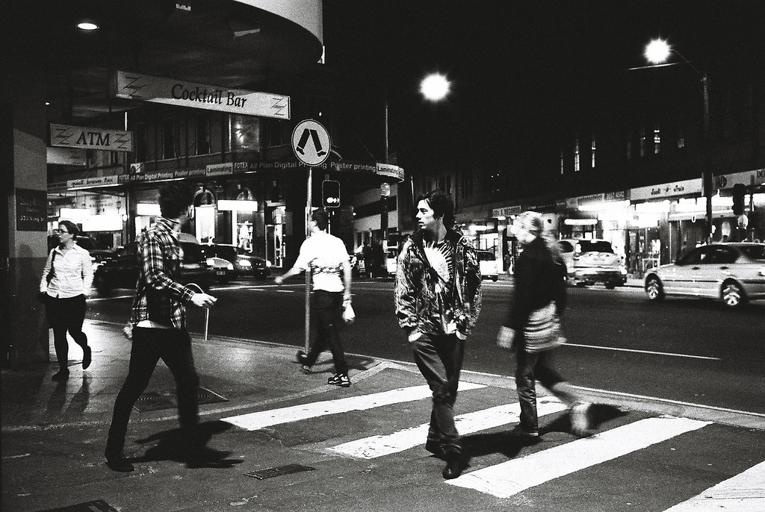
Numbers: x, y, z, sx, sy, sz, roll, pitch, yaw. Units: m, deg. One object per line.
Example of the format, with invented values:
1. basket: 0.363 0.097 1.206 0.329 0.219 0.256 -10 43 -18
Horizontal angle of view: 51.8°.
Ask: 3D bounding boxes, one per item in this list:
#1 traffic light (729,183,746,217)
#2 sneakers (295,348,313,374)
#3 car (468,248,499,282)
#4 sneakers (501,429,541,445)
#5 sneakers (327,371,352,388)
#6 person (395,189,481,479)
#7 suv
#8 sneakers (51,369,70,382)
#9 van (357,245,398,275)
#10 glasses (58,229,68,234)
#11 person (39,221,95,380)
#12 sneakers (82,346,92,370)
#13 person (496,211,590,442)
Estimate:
1. traffic light: 11.791 -1.845 26.034 0.349 1.018 0.886 2 6 21
2. sneakers: -1.359 1.814 13.620 0.175 0.237 0.532 5 12 -14
3. car: 4.860 0.533 37.097 1.682 1.561 3.031 0 8 2
4. sneakers: 1.792 2.391 10.243 0.518 0.237 0.198 6 5 30
5. sneakers: -0.728 1.987 12.736 0.451 0.206 0.286 3 7 27
6. person: 0.652 0.931 9.377 1.006 3.362 0.500 0 6 3
7. suv: 8.262 0.734 32.765 2.670 2.417 5.383 -1 6 -3
8. sneakers: -5.313 1.971 12.933 0.171 0.253 0.252 -2 -14 7
9. van: -0.070 0.329 42.419 2.666 1.996 1.507 3 6 39
10. glasses: -5.281 -0.394 12.933 0.195 0.084 0.085 3 7 24
11. person: -5.228 0.709 13.019 0.778 2.583 0.552 -3 6 -25
12. sneakers: -5.108 1.741 13.462 0.154 0.511 0.196 1 3 10
13. person: 2.078 0.909 10.343 1.078 2.930 0.548 1 6 9
